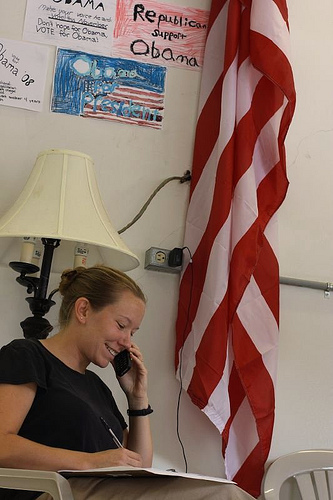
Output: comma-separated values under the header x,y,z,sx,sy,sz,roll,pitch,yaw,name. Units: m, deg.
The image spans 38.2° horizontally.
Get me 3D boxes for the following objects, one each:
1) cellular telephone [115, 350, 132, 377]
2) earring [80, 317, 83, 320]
x,y,z,sx,sy,sz,roll,pitch,yaw,name
-0.114,0.292,1.243,0.046,0.063,0.015,-25,-33,30,cellular telephone
-0.205,0.160,1.147,0.007,0.007,0.002,-1,1,-11,earring
